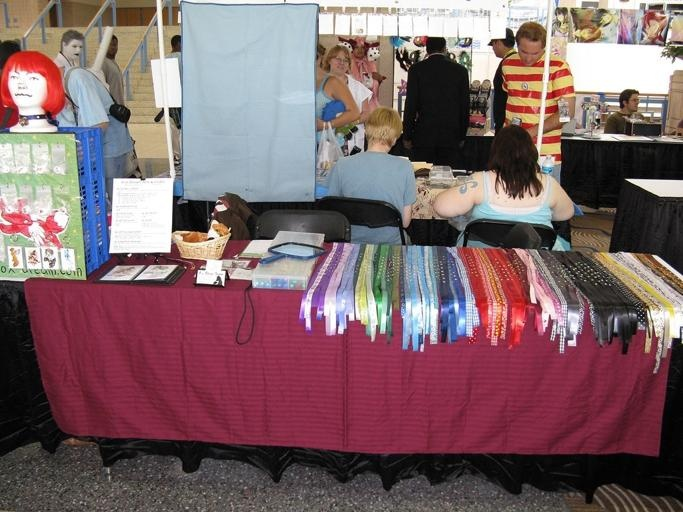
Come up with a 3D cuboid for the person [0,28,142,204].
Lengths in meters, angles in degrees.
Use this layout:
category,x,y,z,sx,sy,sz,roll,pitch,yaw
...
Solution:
category,x,y,z,sx,sy,sz,roll,pitch,yaw
person,-1.961,-1.149,4.255,0.524,1.246,0.979,-8,18,-20
